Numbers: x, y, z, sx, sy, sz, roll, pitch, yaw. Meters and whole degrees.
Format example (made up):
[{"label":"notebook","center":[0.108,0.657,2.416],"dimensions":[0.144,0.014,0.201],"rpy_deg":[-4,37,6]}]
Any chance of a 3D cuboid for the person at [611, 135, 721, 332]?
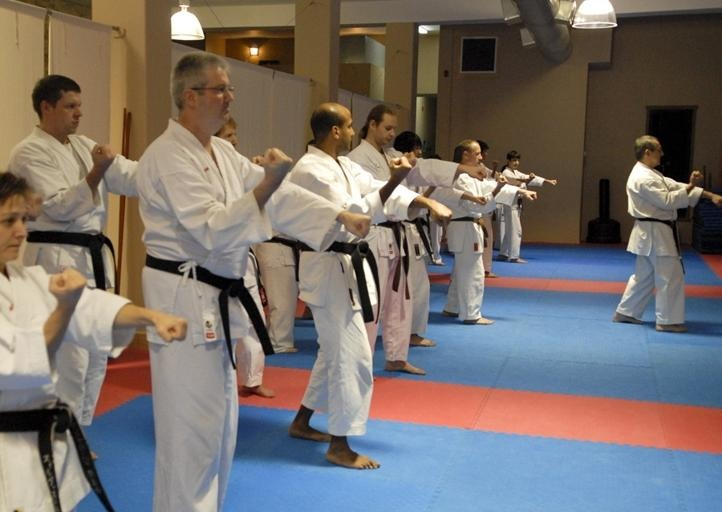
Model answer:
[{"label":"person","center":[3.523,-0.091,7.570],"dimensions":[0.569,1.991,0.990],"rpy_deg":[-7,11,-41]}]
